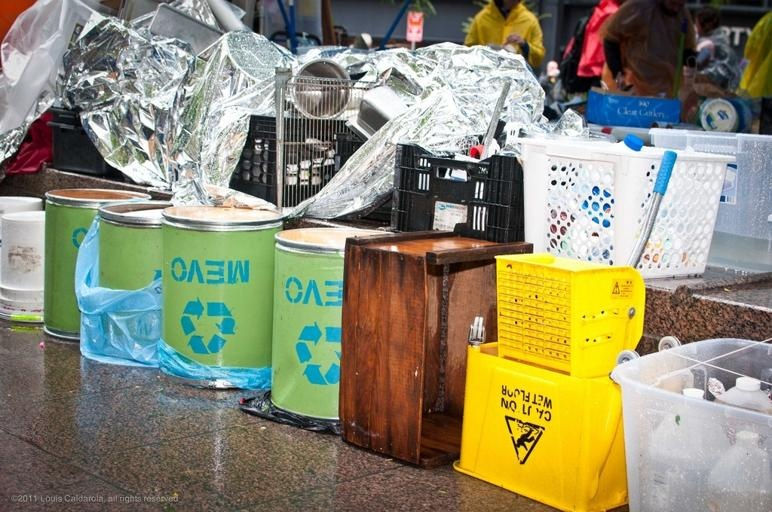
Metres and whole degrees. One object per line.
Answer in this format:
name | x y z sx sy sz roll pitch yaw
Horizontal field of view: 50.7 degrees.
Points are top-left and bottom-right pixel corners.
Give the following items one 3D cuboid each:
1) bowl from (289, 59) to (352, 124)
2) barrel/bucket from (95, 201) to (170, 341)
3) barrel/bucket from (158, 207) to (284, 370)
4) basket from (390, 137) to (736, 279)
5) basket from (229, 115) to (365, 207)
bowl | -0.506 -1.309 6.302 0.515 0.368 0.522 5 19 -2
barrel/bucket | -1.816 0.013 5.747 0.654 0.746 0.654 2 3 0
barrel/bucket | -1.132 0.178 5.716 1.192 0.981 1.234 2 6 0
basket | 1.346 -0.398 4.857 1.053 0.698 0.778 14 13 43
basket | -0.709 -0.736 6.243 1.047 0.689 0.496 3 10 0
